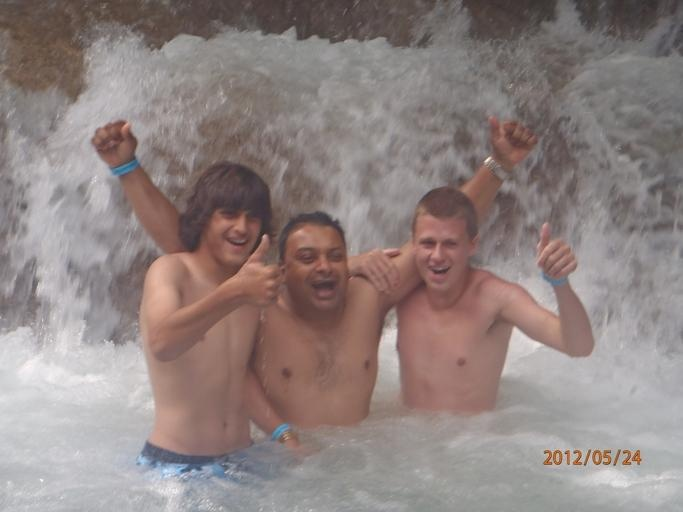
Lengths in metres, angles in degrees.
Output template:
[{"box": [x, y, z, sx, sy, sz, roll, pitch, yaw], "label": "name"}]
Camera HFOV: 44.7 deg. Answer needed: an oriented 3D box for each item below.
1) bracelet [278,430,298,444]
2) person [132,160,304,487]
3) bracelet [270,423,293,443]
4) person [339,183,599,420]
[{"box": [-0.322, 1.097, 4.911, 0.091, 0.091, 0.101, -12, 54, -13], "label": "bracelet"}, {"box": [-0.737, 0.378, 4.974, 0.914, 1.646, 0.972, 1, 17, 15], "label": "person"}, {"box": [-0.370, 1.062, 4.969, 0.106, 0.113, 0.031, -10, 1, 1], "label": "bracelet"}, {"box": [0.578, 0.471, 5.366, 2.064, 1.574, 0.649, 5, 5, 24], "label": "person"}]
